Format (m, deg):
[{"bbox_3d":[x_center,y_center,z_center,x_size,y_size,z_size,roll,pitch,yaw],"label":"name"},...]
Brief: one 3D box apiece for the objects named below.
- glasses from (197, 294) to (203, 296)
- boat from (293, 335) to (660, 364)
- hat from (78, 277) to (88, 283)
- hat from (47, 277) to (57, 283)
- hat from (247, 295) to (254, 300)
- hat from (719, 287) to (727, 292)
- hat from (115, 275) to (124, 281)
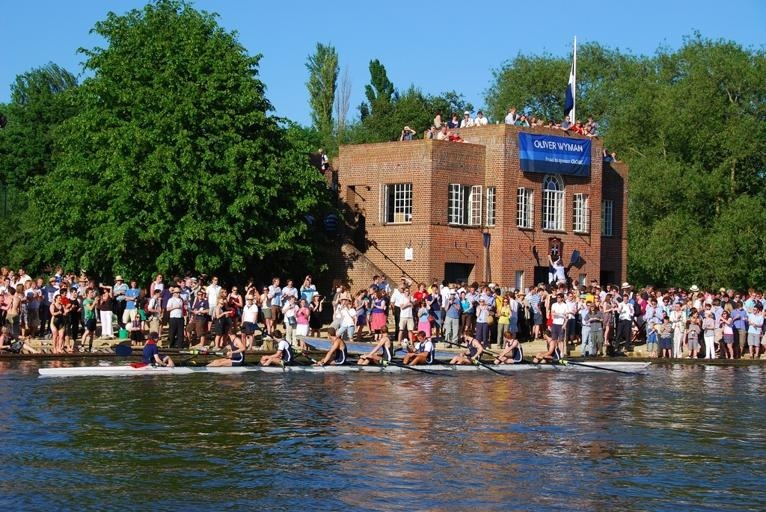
[{"bbox_3d":[-8.105,1.643,52.993,0.274,0.176,0.155,3,-6,-40],"label":"glasses"},{"bbox_3d":[4.410,4.334,54.948,15.652,1.531,3.967,-1,-5,-4],"label":"boat"},{"bbox_3d":[-13.667,1.031,54.549,0.369,0.397,0.811,0,-5,-13],"label":"hat"},{"bbox_3d":[-14.958,1.024,54.144,0.215,0.250,0.271,-2,2,-26],"label":"hat"},{"bbox_3d":[-5.822,1.784,52.487,0.239,0.244,0.510,-4,-6,27],"label":"hat"},{"bbox_3d":[18.190,1.732,64.298,0.250,0.319,0.346,2,-33,3],"label":"hat"},{"bbox_3d":[-12.099,0.970,54.840,0.393,0.150,0.399,-2,-5,-2],"label":"hat"}]
